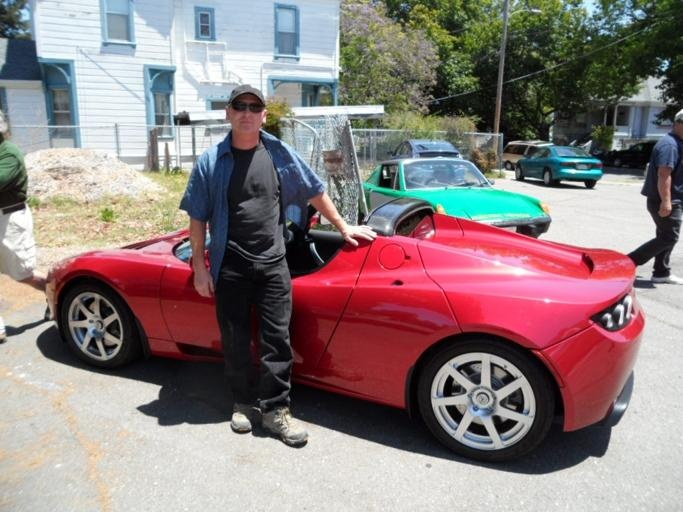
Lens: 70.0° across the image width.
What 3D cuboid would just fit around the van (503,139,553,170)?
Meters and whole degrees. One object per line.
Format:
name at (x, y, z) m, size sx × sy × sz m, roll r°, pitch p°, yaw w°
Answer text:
van at (10.020, -5.521, 27.291) m, size 1.739 × 1.544 × 3.032 m, roll -13°, pitch 18°, yaw -34°

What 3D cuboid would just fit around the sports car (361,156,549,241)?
sports car at (1.920, -1.222, 9.138) m, size 1.699 × 1.242 × 3.797 m, roll -12°, pitch 19°, yaw -26°

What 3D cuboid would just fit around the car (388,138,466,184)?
car at (2.281, -2.906, 13.834) m, size 1.360 × 0.865 × 2.582 m, roll -5°, pitch 21°, yaw -14°

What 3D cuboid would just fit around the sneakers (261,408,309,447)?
sneakers at (-0.439, 1.227, 3.633) m, size 0.432 × 0.218 × 0.166 m, roll 9°, pitch 7°, yaw 33°

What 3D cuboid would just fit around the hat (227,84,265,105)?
hat at (-0.718, -1.226, 3.698) m, size 0.244 × 0.150 × 0.313 m, roll -1°, pitch 13°, yaw -9°

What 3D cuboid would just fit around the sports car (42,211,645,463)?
sports car at (-0.111, 0.462, 4.292) m, size 4.434 × 1.442 × 2.137 m, roll 11°, pitch 9°, yaw 19°

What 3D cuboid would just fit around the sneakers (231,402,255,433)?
sneakers at (-0.737, 1.210, 3.611) m, size 0.099 × 0.127 × 0.285 m, roll 2°, pitch -8°, yaw -7°

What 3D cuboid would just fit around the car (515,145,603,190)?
car at (9.192, -3.770, 21.056) m, size 1.734 × 1.345 × 3.918 m, roll -4°, pitch 18°, yaw -11°
